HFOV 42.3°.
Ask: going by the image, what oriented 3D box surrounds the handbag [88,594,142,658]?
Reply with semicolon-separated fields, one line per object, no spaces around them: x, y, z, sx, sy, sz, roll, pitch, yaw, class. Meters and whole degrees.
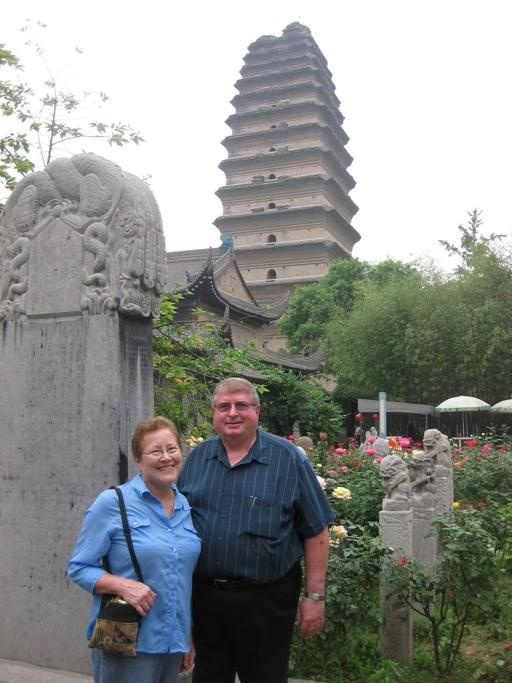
-0.440;0.895;2.087;0.155;0.172;0.110;2;-9;-11;handbag
